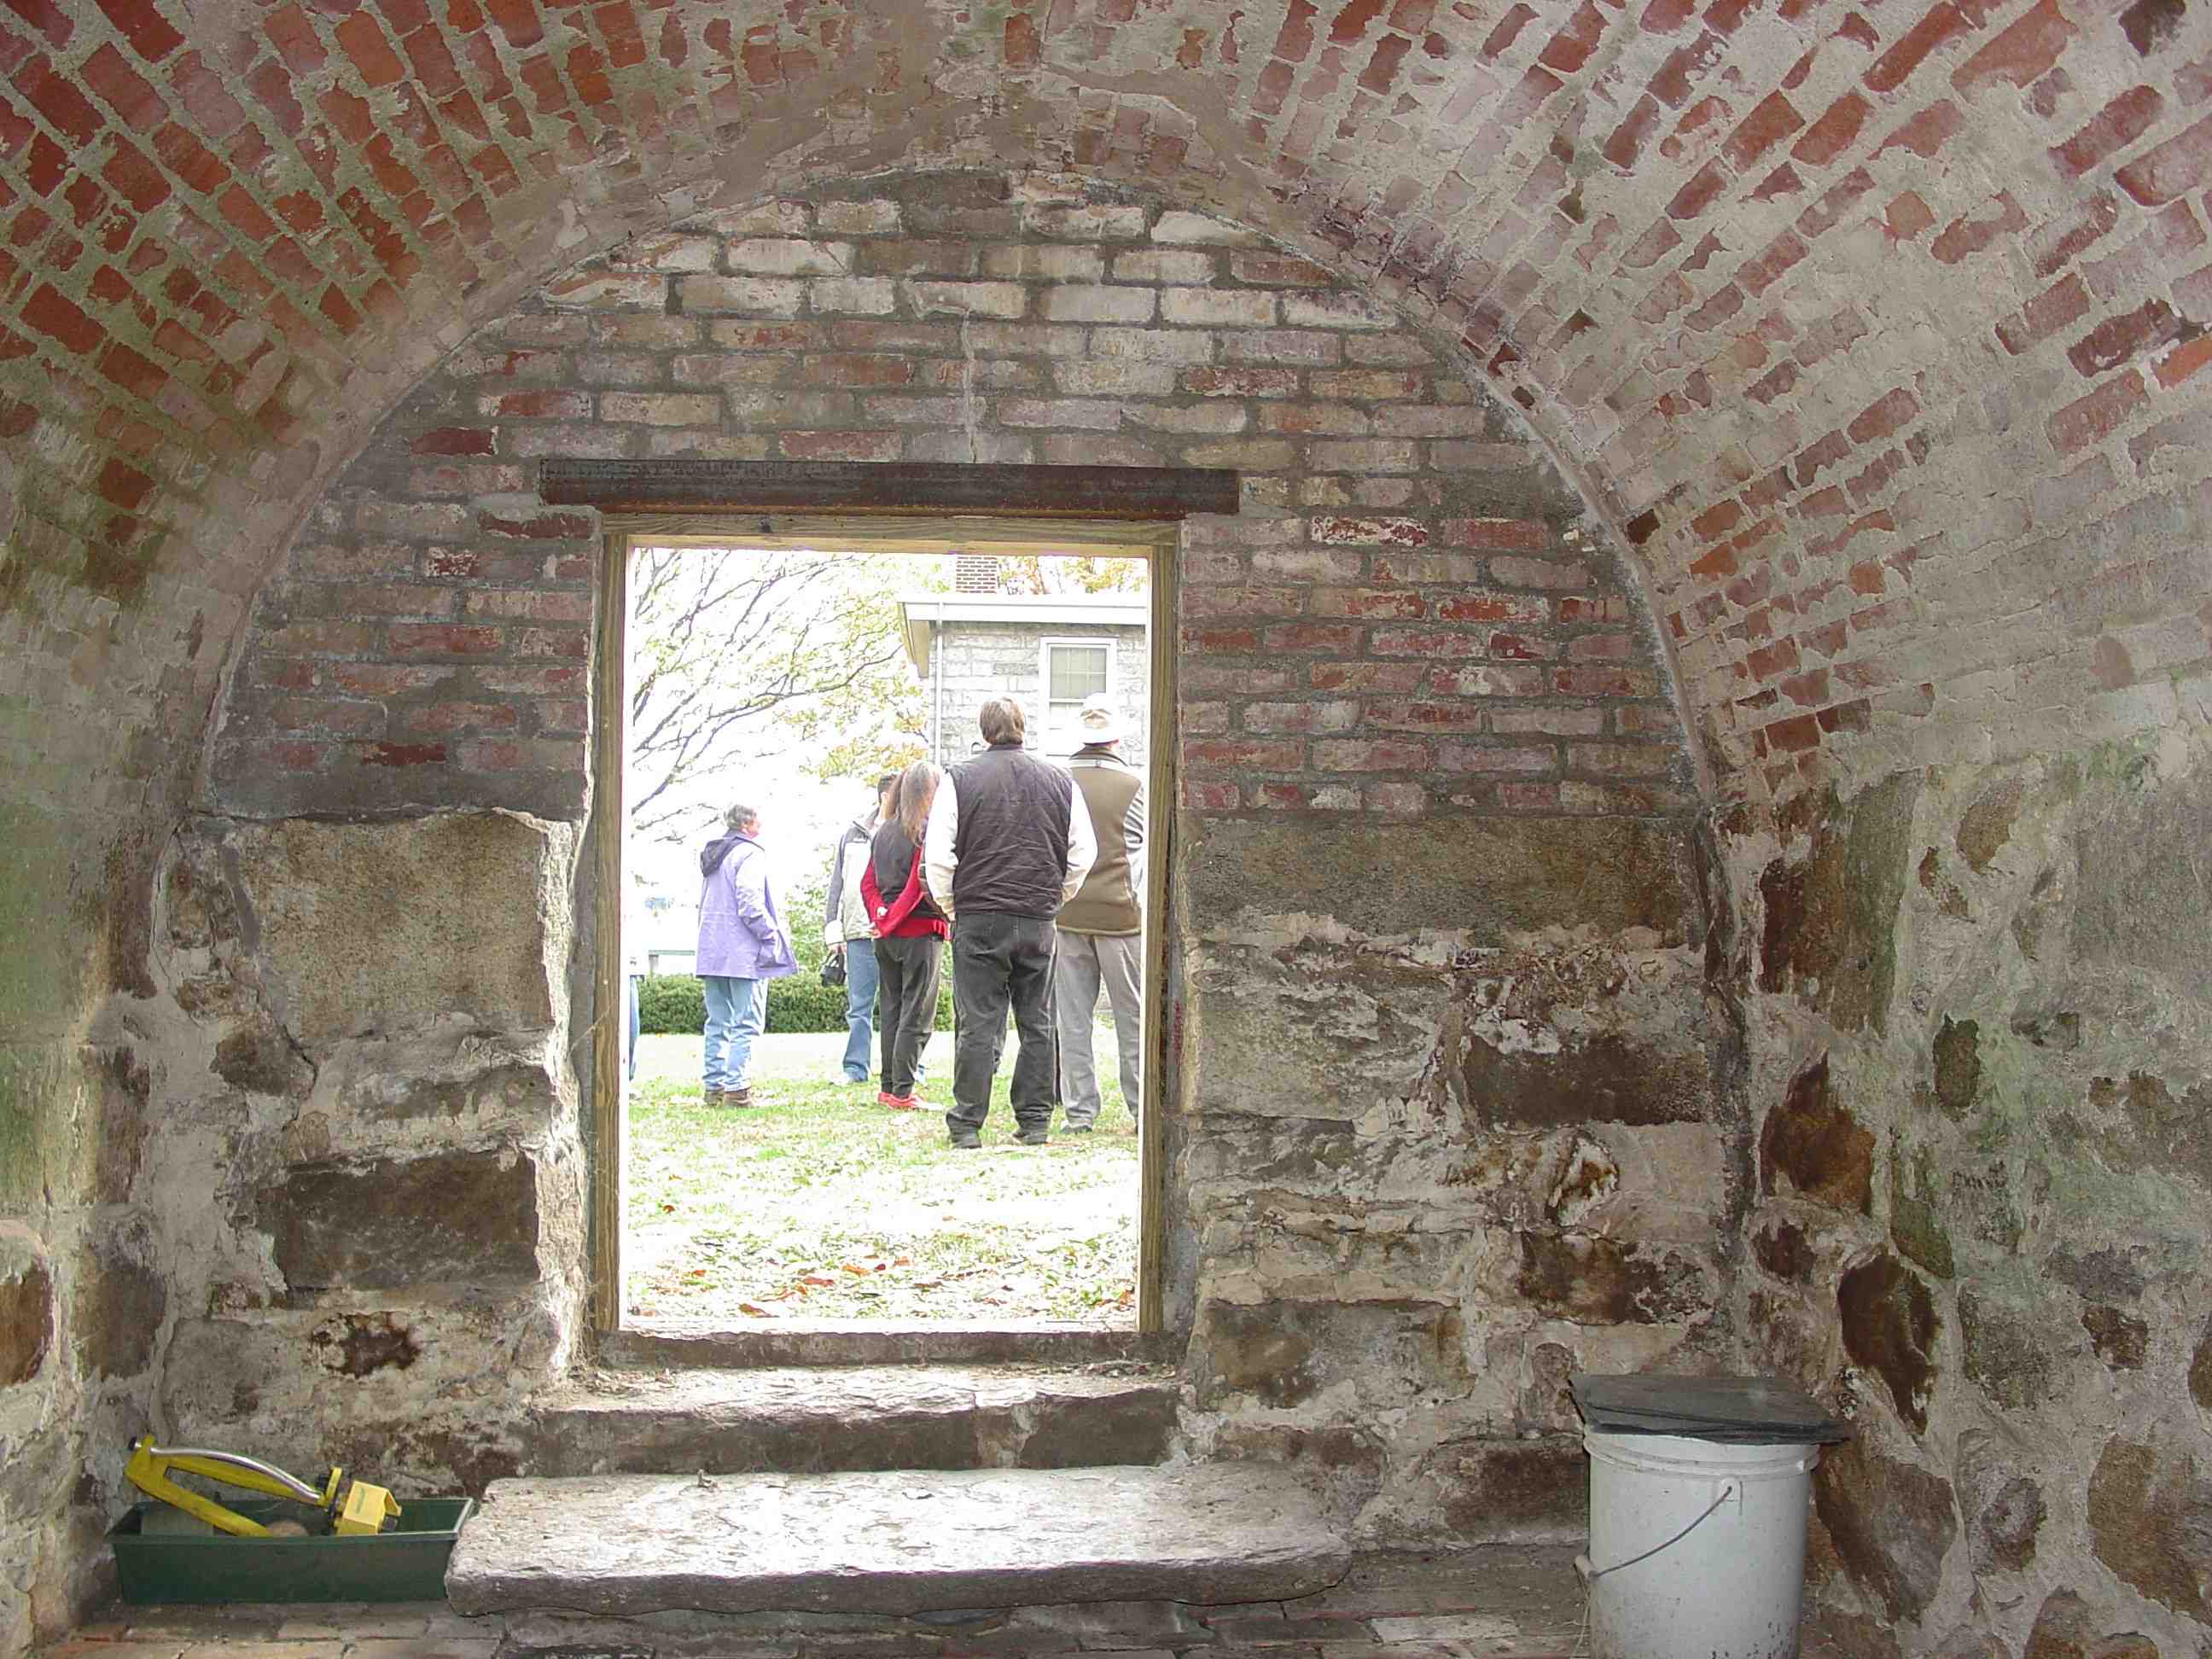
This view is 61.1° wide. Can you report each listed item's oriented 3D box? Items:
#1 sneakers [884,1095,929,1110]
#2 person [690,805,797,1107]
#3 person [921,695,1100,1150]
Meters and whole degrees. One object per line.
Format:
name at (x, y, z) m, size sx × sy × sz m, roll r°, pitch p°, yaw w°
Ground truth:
sneakers at (-0.911, 1.252, 8.556) m, size 0.198 × 0.121 × 0.063 m, roll 0°, pitch 2°, yaw -2°
person at (-1.736, 0.611, 8.940) m, size 0.454 × 1.424 × 0.468 m, roll 3°, pitch -9°, yaw -11°
person at (-0.378, 0.370, 7.252) m, size 0.608 × 1.731 × 0.687 m, roll 1°, pitch -8°, yaw 1°
